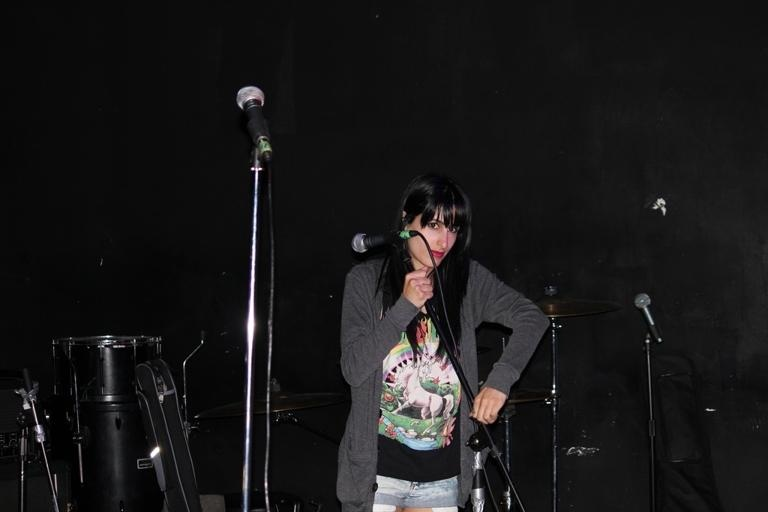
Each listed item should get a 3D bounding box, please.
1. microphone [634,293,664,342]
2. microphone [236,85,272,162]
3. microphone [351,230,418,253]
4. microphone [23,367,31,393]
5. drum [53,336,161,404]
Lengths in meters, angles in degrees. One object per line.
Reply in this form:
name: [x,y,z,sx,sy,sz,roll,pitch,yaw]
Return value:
microphone: [1.879,0.456,5.438,0.117,0.344,0.081,-26,4,1]
microphone: [-0.645,-0.661,3.878,0.134,0.423,0.137,-17,-29,-2]
microphone: [0.039,-0.074,3.977,0.417,0.124,0.128,-10,7,1]
microphone: [-2.385,0.839,5.104,0.032,0.121,0.115,-7,1,-1]
drum: [-1.950,0.772,5.356,0.561,0.477,0.540,0,-4,-7]
